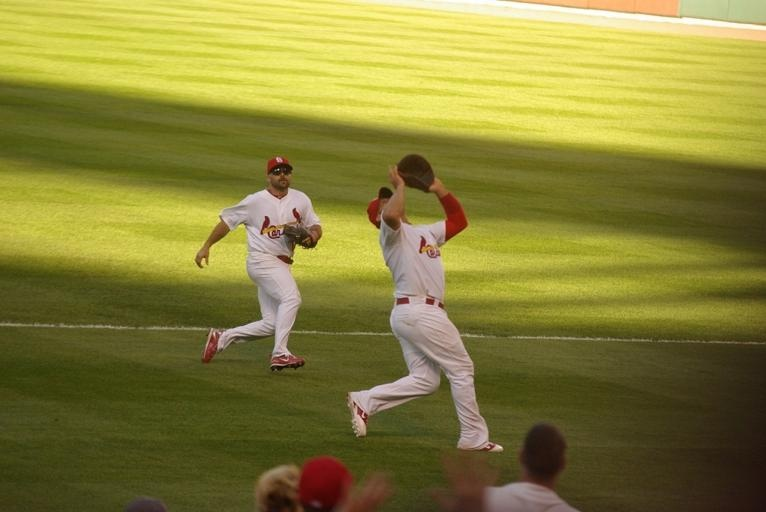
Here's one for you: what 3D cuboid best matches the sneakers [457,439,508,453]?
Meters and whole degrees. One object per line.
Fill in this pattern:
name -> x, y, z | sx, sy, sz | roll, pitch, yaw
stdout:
sneakers -> 1.269, 2.424, 15.143 | 0.617, 0.182, 0.192 | -1, 4, -2

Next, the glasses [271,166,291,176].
glasses -> -1.442, -1.210, 16.642 | 0.172, 0.178, 0.193 | -2, 30, -18

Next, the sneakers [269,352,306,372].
sneakers -> -1.302, 1.460, 16.368 | 0.593, 0.240, 0.199 | -2, -5, -2

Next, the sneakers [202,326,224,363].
sneakers -> -2.390, 1.231, 16.548 | 0.285, 0.518, 0.202 | 17, -3, 9

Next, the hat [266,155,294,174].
hat -> -1.471, -1.280, 16.721 | 0.320, 0.231, 0.305 | 11, 9, -4

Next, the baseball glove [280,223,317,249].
baseball glove -> -1.186, -0.283, 16.570 | 0.536, 0.228, 0.237 | 11, 20, 7
